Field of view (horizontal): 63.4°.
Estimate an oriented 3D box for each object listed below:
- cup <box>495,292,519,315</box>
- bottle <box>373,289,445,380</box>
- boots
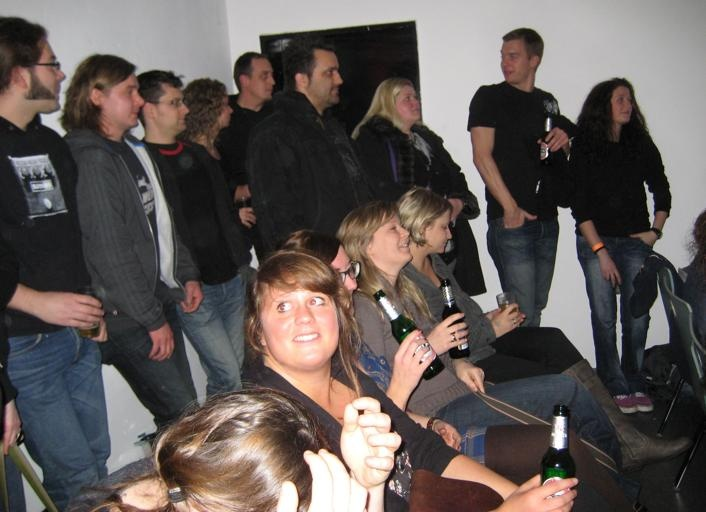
[{"bbox_3d":[0.818,0.254,3.047,0.076,0.091,0.096,-14,-17,-2],"label":"cup"},{"bbox_3d":[0.248,0.349,2.584,0.246,0.419,0.260,-3,14,1],"label":"bottle"},{"bbox_3d":[1.408,0.776,2.885,0.567,0.489,0.385,-8,15,-19],"label":"boots"}]
